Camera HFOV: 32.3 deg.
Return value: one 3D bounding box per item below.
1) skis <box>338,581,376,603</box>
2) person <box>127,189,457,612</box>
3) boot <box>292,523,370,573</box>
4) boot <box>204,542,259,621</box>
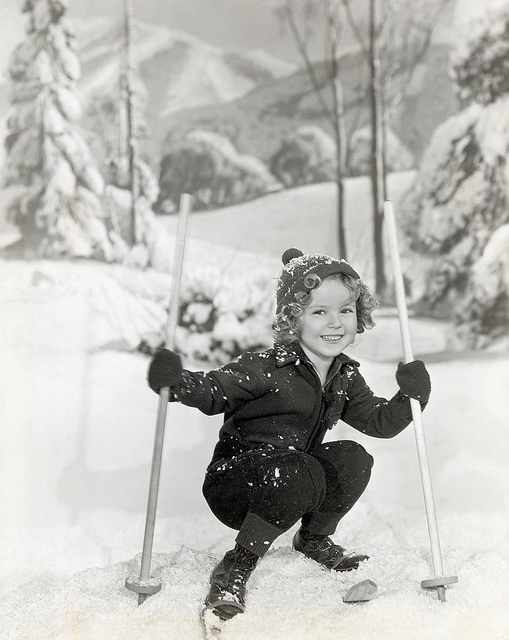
[{"bbox_3d":[0.226,0.598,1.933,0.069,0.032,0.017,-16,4,1],"label":"skis"},{"bbox_3d":[0.089,0.169,2.050,0.655,0.884,0.415,-3,3,-6],"label":"person"},{"bbox_3d":[0.188,0.558,2.151,0.204,0.073,0.067,12,23,28],"label":"boot"},{"bbox_3d":[-0.051,0.553,1.915,0.107,0.119,0.140,-2,3,8],"label":"boot"}]
